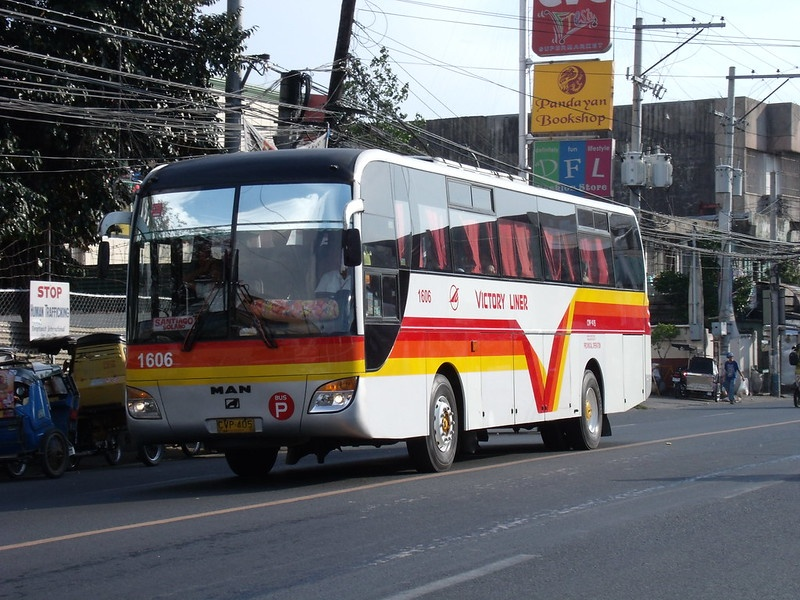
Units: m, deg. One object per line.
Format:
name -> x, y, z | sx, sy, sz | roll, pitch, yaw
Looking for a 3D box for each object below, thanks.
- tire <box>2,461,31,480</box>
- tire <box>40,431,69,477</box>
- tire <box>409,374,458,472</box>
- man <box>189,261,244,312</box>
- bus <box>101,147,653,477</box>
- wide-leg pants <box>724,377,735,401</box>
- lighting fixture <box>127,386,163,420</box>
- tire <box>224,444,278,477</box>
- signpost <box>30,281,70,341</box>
tire -> -6.533, 2.891, 14.304 | 0.290, 0.371, 0.634 | 1, 2, -17
tire -> -5.730, 2.535, 13.951 | 0.243, 0.865, 0.761 | -3, -5, 21
tire -> 0.456, 1.782, 12.212 | 0.474, 1.590, 1.342 | -4, -5, 23
man -> -2.419, -0.126, 10.841 | 0.457, 0.699, 0.173 | 7, -3, 19
bus -> 0.988, 0.335, 15.899 | 3.483, 4.518, 11.685 | -6, -5, 34
wide-leg pants -> 15.592, 4.227, 40.000 | 0.393, 1.107, 1.890 | 2, 2, 17
lighting fixture -> -3.321, 1.347, 11.043 | 0.373, 0.367, 0.158 | 7, -42, -8
tire -> -2.287, 2.488, 13.044 | 0.786, 0.629, 0.767 | 7, -9, -35
signpost -> -7.284, 0.235, 17.452 | 0.111, 1.231, 1.143 | -1, -2, 31
